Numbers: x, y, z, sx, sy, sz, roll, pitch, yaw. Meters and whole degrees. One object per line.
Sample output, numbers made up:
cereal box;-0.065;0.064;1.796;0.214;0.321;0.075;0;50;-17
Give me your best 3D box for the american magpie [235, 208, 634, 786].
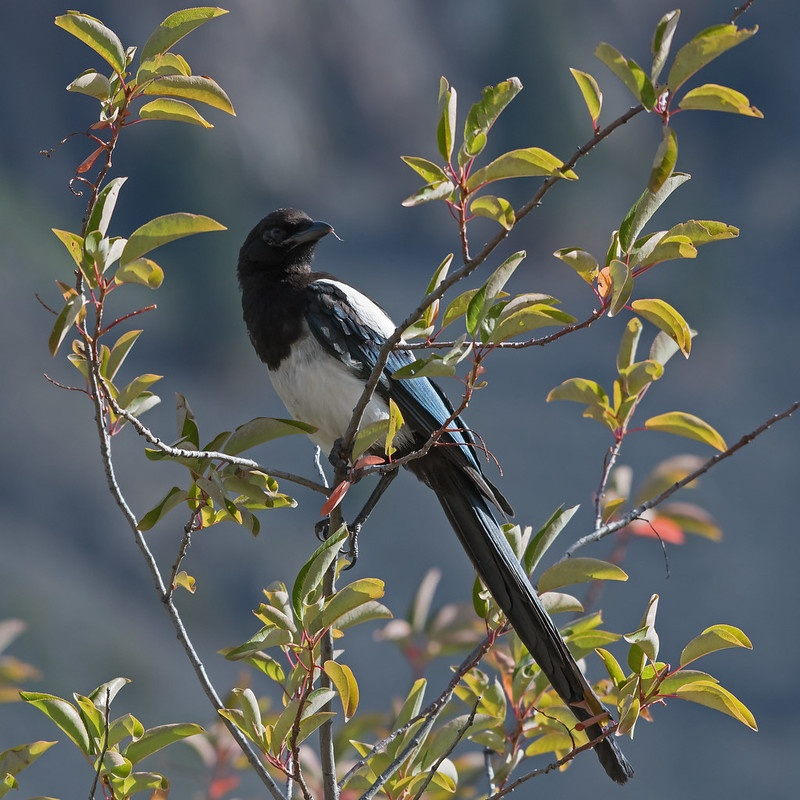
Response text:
american magpie;0.003;0.133;4.793;0.699;2.088;1.901;2;-5;-35
